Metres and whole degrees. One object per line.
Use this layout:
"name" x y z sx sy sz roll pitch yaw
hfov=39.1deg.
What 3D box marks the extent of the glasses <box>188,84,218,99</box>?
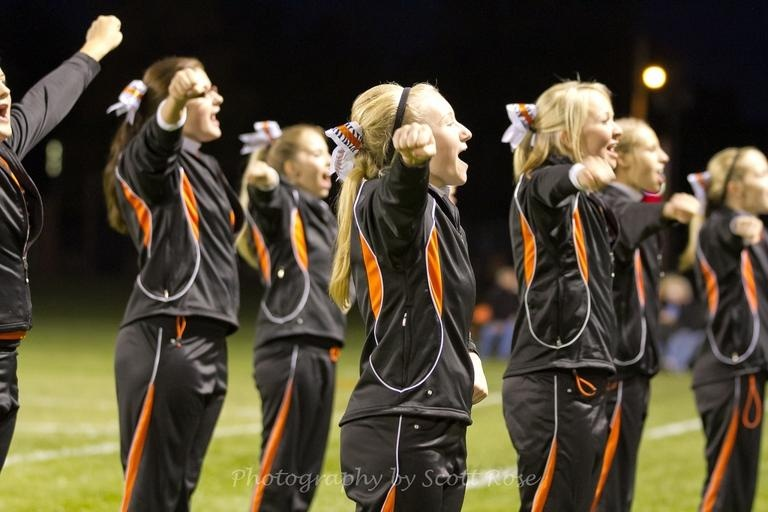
"glasses" -1.380 -1.253 8.234 0.228 0.081 0.162 -26 11 -26
